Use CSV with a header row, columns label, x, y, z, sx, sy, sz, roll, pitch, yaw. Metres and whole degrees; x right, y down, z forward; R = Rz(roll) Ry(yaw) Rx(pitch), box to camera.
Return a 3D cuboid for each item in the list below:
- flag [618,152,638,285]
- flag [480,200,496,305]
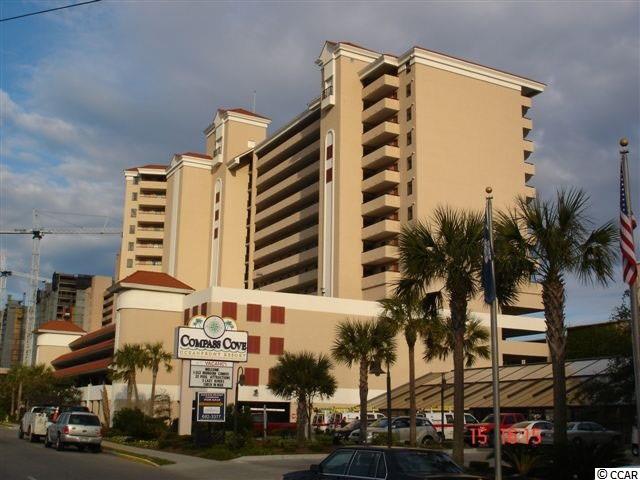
label,x,y,z,sx,sy,sz,roll,pitch,yaw
flag,11.535,-0.766,24.874,0.516,4.911,0.558,-8,-16,26
flag,5.649,0.279,21.942,0.412,3.989,0.717,-3,5,-10
